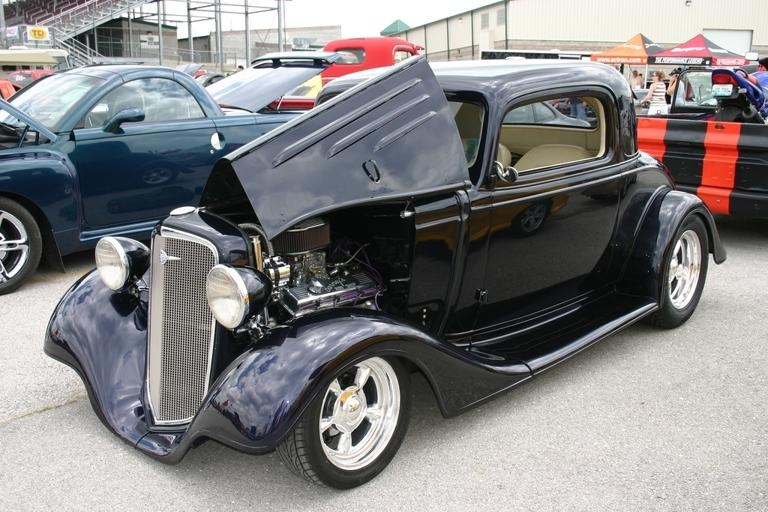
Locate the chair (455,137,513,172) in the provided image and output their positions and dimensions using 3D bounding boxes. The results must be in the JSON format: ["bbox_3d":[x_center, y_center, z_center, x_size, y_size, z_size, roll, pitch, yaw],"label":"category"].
[{"bbox_3d":[0.741,-0.757,4.261,0.262,0.363,0.130,11,20,22],"label":"chair"}]

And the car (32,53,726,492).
[{"bbox_3d":[0.394,-0.254,4.627,4.979,2.191,2.581,-15,17,-29],"label":"car"}]
